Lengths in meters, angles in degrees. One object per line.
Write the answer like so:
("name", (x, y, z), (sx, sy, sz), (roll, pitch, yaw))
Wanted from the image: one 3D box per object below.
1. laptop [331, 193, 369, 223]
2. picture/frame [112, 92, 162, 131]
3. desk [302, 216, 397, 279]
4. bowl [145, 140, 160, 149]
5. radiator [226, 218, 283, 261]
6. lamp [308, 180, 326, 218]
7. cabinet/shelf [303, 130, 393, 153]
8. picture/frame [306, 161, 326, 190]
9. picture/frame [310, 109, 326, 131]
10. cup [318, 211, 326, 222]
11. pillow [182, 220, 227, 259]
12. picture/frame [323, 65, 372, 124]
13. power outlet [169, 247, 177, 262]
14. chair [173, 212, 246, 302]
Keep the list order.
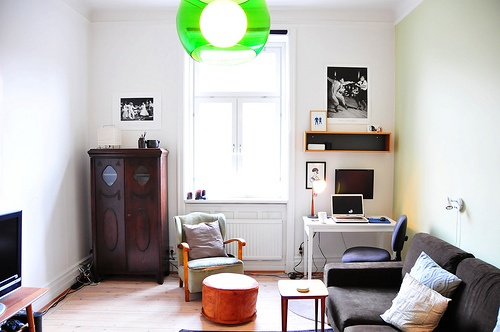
("laptop", (1.507, 0.640, 5.458), (0.496, 0.317, 0.398), (0, 0, 0))
("picture/frame", (-1.805, -0.904, 5.711), (0.651, 0.502, 0.026), (0, -1, -1))
("desk", (1.405, 0.938, 5.241), (1.523, 1.074, 0.870), (0, -1, -4))
("bowl", (-1.510, -0.339, 5.533), (0.129, 0.112, 0.160), (-7, -8, 43))
("radiator", (0.053, 1.210, 5.805), (0.953, 0.666, 0.074), (-2, -7, 11))
("lamp", (1.071, 0.498, 5.547), (0.222, 0.584, 0.300), (0, 6, 9))
("cabinet/shelf", (1.521, -0.381, 5.558), (1.293, 0.312, 0.246), (2, 8, 9))
("picture/frame", (1.055, 0.125, 5.593), (0.444, 0.604, 0.022), (1, 0, -3))
("picture/frame", (1.075, -0.709, 5.588), (0.316, 0.391, 0.027), (0, -1, -3))
("cup", (1.087, 0.769, 5.330), (0.104, 0.103, 0.134), (-2, -12, 16))
("pillow", (-0.674, 1.093, 5.200), (0.592, 0.513, 0.308), (-2, -5, -26))
("picture/frame", (1.535, -1.155, 5.632), (0.921, 1.078, 0.042), (-1, 2, 2))
("power outlet", (-1.256, 1.433, 5.754), (0.137, 0.197, 0.072), (2, 1, 0))
("chair", (-0.632, 1.283, 5.262), (0.879, 1.134, 1.019), (-1, -5, -23))
